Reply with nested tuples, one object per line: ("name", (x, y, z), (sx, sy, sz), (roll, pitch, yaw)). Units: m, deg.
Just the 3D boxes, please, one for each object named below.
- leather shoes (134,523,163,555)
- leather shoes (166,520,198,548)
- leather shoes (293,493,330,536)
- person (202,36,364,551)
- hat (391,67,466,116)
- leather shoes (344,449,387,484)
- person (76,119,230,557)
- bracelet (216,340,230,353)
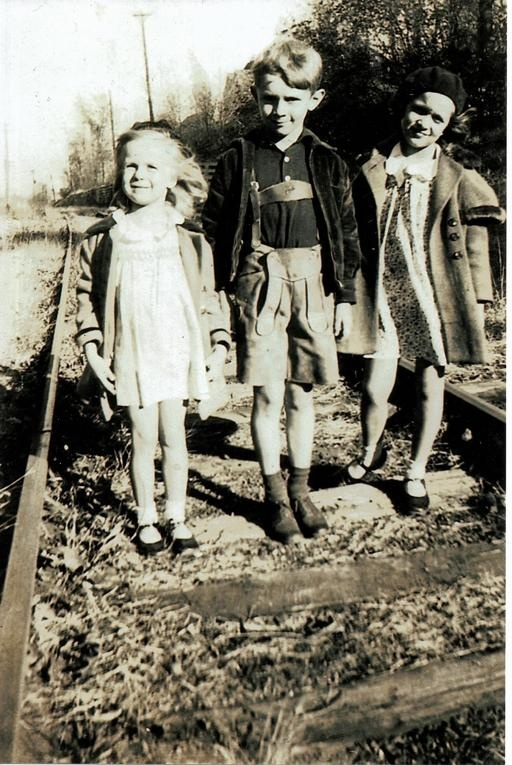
("leather shoes", (-0.427, 0.599, 2.440), (0.095, 0.119, 0.120), (3, -20, -17))
("leather shoes", (-0.289, 0.595, 2.470), (0.081, 0.060, 0.125), (-2, -4, -13))
("leather shoes", (0.219, 0.548, 2.597), (0.074, 0.082, 0.217), (-14, 24, -15))
("person", (0.098, -0.310, 2.471), (0.608, 1.864, 0.313), (1, 11, 6))
("hat", (0.692, -1.149, 2.509), (0.271, 0.167, 0.221), (2, 12, 15))
("leather shoes", (0.520, 0.413, 3.051), (0.274, 0.105, 0.072), (-37, -26, 31))
("person", (-0.384, -0.136, 2.390), (0.572, 1.583, 0.300), (-4, 12, -16))
("bracelet", (-0.127, -0.139, 2.411), (0.045, 0.041, 0.044), (0, 0, 12))
